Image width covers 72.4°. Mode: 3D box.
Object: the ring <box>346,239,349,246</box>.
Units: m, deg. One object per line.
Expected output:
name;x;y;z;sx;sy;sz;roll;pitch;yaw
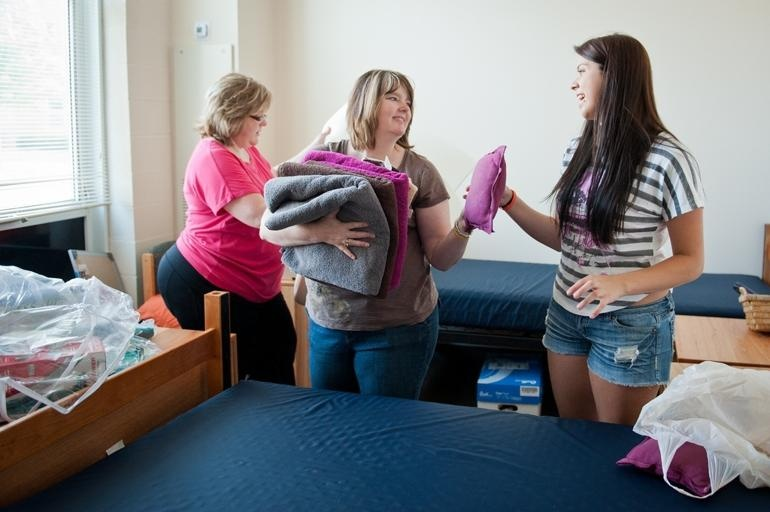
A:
ring;-0.122;-0.042;1.700;0.011;0.015;0.007;2;12;-1

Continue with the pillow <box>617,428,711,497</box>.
pillow;0.795;0.573;1.472;0.150;0.045;0.152;7;13;34

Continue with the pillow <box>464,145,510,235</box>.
pillow;0.342;-0.220;1.810;0.081;0.282;0.182;15;-11;-11

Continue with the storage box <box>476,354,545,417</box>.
storage box;0.729;0.686;2.994;0.380;0.285;0.382;1;9;19

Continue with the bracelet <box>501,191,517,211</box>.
bracelet;0.477;-0.212;1.991;0.024;0.067;0.057;5;24;37

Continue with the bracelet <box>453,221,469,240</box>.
bracelet;0.261;-0.085;1.784;0.020;0.048;0.051;-53;32;-12

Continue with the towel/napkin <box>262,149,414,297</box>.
towel/napkin;-0.135;-0.118;1.796;0.468;0.489;0.193;10;7;10
